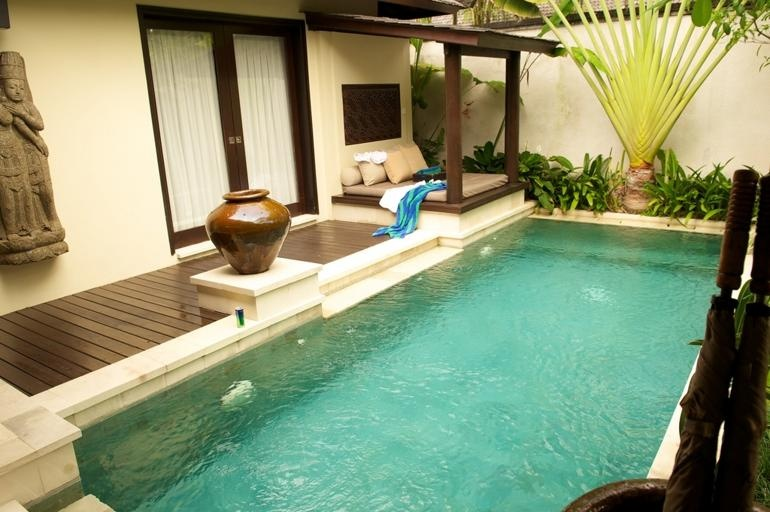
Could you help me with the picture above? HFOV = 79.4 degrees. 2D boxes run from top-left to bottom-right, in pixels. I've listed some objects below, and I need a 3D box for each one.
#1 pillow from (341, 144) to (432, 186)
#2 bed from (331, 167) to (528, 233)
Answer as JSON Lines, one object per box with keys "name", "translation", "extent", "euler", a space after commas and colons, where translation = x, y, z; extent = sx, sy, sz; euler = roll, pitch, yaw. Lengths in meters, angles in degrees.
{"name": "pillow", "translation": [0.035, -1.768, 9.151], "extent": [1.099, 1.079, 1.512], "euler": [8, 18, 34]}
{"name": "bed", "translation": [1.308, -1.305, 9.327], "extent": [4.051, 1.114, 1.963], "euler": [14, 19, 37]}
